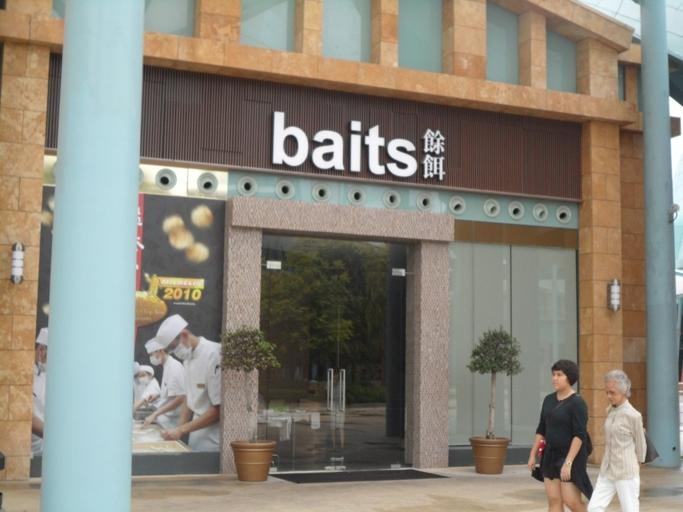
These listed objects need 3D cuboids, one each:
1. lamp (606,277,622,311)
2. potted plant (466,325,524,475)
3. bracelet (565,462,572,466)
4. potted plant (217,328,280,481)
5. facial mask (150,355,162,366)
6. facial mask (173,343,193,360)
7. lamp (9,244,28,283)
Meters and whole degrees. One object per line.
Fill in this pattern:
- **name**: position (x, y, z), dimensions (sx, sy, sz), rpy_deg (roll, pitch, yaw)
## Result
- **lamp**: position (5.079, 0.745, 20.070), dimensions (0.216, 0.606, 0.265), rpy_deg (3, 2, 42)
- **potted plant**: position (2.687, 2.511, 19.060), dimensions (0.948, 2.492, 1.799), rpy_deg (1, 2, 10)
- **bracelet**: position (2.685, 2.461, 12.775), dimensions (0.040, 0.026, 0.041), rpy_deg (1, 0, 35)
- **potted plant**: position (-1.518, 2.353, 17.454), dimensions (0.862, 2.421, 1.034), rpy_deg (1, 2, -7)
- **facial mask**: position (-3.049, 1.731, 17.670), dimensions (0.130, 0.151, 0.164), rpy_deg (-4, -33, 34)
- **facial mask**: position (-2.626, 1.604, 17.802), dimensions (0.232, 0.217, 0.241), rpy_deg (11, -16, -26)
- **lamp**: position (-5.075, 0.149, 16.871), dimensions (0.182, 0.642, 0.169), rpy_deg (3, 0, -19)
